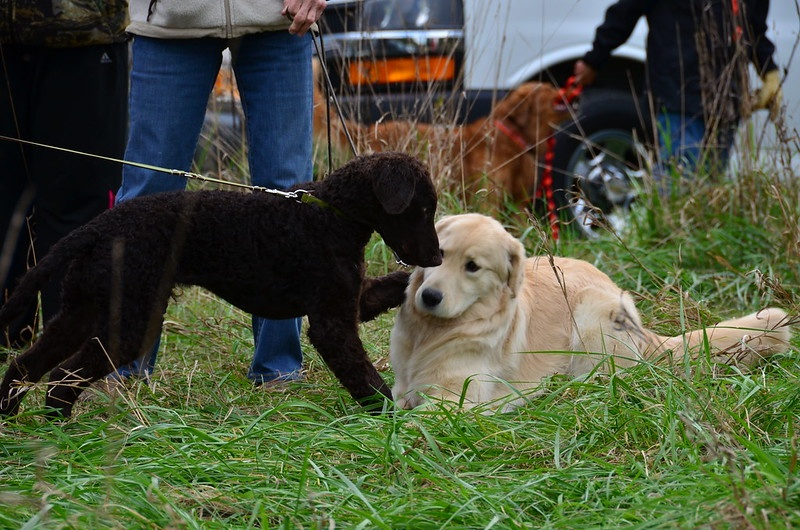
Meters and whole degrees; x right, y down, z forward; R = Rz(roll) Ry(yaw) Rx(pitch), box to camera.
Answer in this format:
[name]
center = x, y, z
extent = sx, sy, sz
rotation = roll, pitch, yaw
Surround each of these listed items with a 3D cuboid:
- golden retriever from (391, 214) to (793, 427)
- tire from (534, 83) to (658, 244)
[golden retriever]
center = 1.133, 0.218, 6.172
extent = 3.015, 1.223, 1.032
rotation = -3, 26, -37
[tire]
center = 1.882, -0.750, 8.398
extent = 1.400, 1.364, 0.481
rotation = -10, 0, -34
